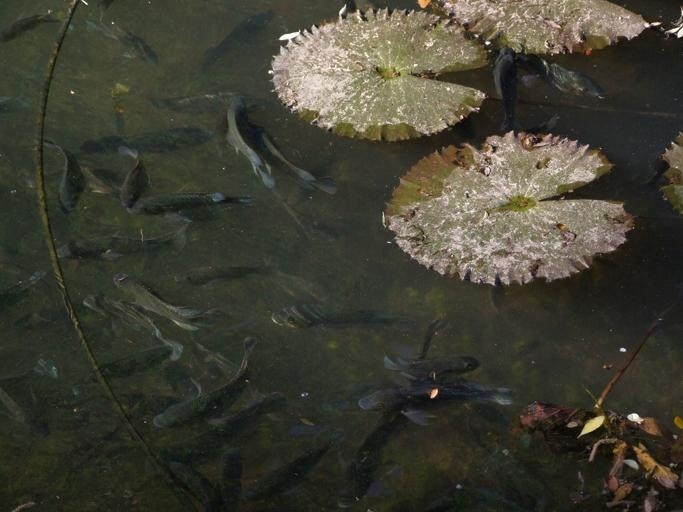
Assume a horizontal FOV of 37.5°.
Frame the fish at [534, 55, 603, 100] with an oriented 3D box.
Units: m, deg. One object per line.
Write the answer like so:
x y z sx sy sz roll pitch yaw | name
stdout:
1.413 -1.105 6.309 0.347 0.121 0.101 31 64 17 | fish
